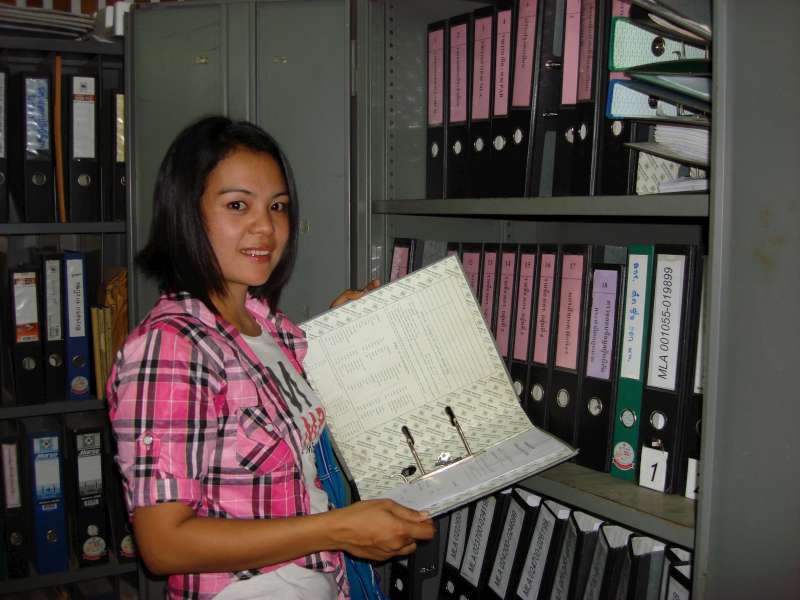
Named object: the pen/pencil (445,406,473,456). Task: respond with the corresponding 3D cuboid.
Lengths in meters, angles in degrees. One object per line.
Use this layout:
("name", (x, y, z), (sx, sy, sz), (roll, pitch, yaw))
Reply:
("pen/pencil", (0.134, 0.289, 1.432), (0.022, 0.113, 0.023), (-27, -1, 14))

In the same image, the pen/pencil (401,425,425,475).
("pen/pencil", (0.030, 0.336, 1.440), (0.030, 0.113, 0.015), (-27, 4, -27))
